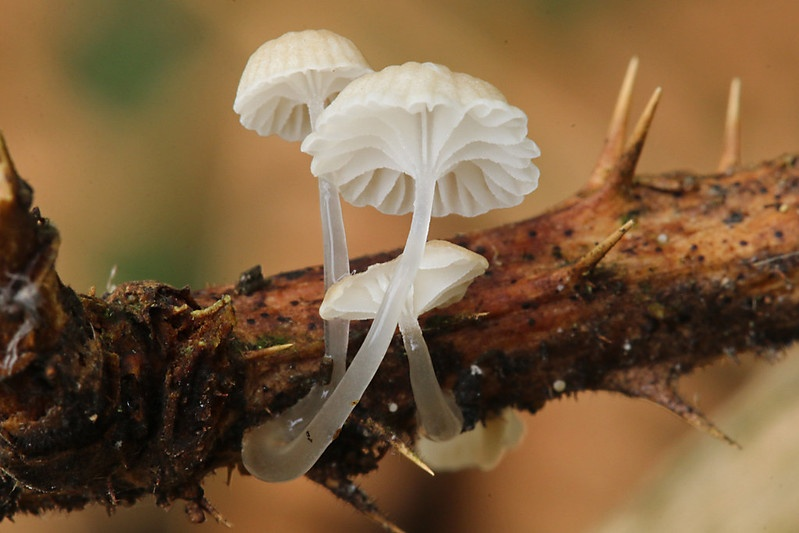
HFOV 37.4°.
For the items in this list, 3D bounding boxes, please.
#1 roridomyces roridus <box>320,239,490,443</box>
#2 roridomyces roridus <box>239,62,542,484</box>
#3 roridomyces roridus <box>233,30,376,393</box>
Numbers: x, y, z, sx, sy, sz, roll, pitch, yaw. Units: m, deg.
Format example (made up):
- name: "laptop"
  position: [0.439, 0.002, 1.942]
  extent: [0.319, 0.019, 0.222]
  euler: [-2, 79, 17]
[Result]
- name: "roridomyces roridus"
  position: [0.116, 0.361, 6.585]
  extent: [0.736, 1.154, 0.981]
  euler: [-11, 2, 4]
- name: "roridomyces roridus"
  position: [0.014, -0.322, 6.619]
  extent: [1.154, 2.673, 1.357]
  euler: [1, 10, -1]
- name: "roridomyces roridus"
  position: [-0.500, -0.464, 6.831]
  extent: [0.860, 2.231, 0.782]
  euler: [-4, 6, 27]
